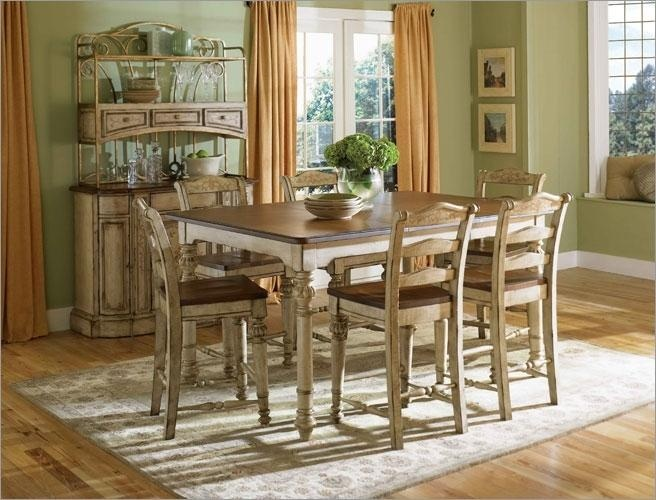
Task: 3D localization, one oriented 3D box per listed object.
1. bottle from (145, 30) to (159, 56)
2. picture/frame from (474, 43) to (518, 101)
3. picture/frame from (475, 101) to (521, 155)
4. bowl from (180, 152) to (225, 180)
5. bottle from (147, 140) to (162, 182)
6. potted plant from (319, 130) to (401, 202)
[{"bbox_3d":[-1.408,-1.658,4.808,0.111,0.187,0.051,1,14,12],"label":"bottle"},{"bbox_3d":[1.787,-1.858,6.306,0.133,0.519,0.462,-8,14,-24],"label":"picture/frame"},{"bbox_3d":[1.833,-1.307,6.348,0.081,0.501,0.716,-4,9,-33],"label":"picture/frame"},{"bbox_3d":[-1.013,-0.683,4.925,0.437,0.148,0.352,0,3,-1],"label":"bowl"},{"bbox_3d":[-1.405,-0.717,4.849,0.124,0.328,0.386,-5,12,-13],"label":"bottle"},{"bbox_3d":[0.237,-0.477,3.574,0.507,0.357,0.447,-1,3,-28],"label":"potted plant"}]
